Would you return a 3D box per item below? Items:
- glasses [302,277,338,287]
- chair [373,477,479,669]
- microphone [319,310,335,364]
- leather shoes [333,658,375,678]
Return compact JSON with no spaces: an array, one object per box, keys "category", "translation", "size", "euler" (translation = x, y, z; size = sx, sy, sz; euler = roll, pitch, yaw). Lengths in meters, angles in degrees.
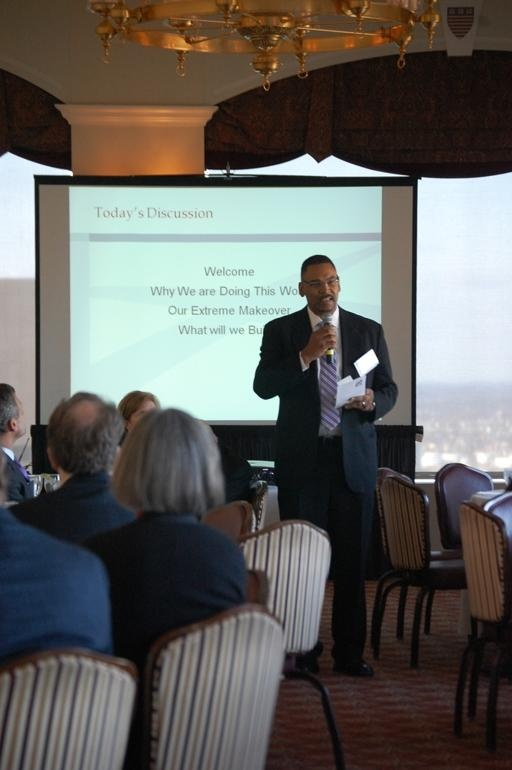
[{"category":"glasses","translation":[0.278,-0.429,2.869],"size":[0.136,0.056,0.063],"euler":[1,-6,-2]},{"category":"chair","translation":[0.927,0.939,3.513],"size":[0.582,0.889,0.565],"euler":[10,-9,-41]},{"category":"microphone","translation":[0.300,-0.197,2.839],"size":[0.055,0.202,0.126],"euler":[0,-6,5]},{"category":"leather shoes","translation":[0.439,1.243,3.006],"size":[0.162,0.070,0.070],"euler":[-3,-3,11]}]
